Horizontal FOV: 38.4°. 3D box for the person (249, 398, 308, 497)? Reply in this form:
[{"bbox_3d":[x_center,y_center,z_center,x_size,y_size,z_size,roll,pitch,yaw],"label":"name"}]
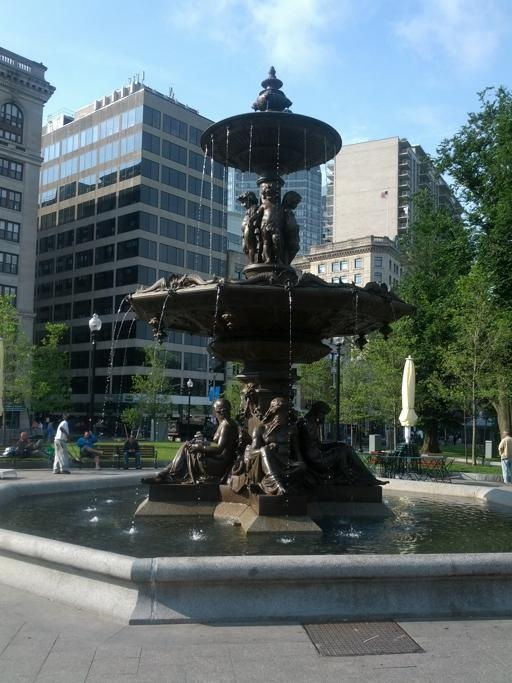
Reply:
[{"bbox_3d":[0.274,1.340,9.705,0.766,1.193,1.615,2,-5,3],"label":"person"}]

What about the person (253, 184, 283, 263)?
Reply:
[{"bbox_3d":[0.204,-1.847,11.438,0.422,1.463,0.688,3,-6,-1],"label":"person"}]

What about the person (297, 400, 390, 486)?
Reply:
[{"bbox_3d":[1.148,1.495,10.801,1.084,1.181,0.372,2,-6,2],"label":"person"}]

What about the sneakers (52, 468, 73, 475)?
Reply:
[{"bbox_3d":[-5.529,3.650,20.779,0.618,0.254,0.213,-4,-8,21],"label":"sneakers"}]

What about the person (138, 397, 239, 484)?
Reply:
[{"bbox_3d":[-1.058,1.704,10.973,1.673,1.367,0.785,-3,-21,7],"label":"person"}]
